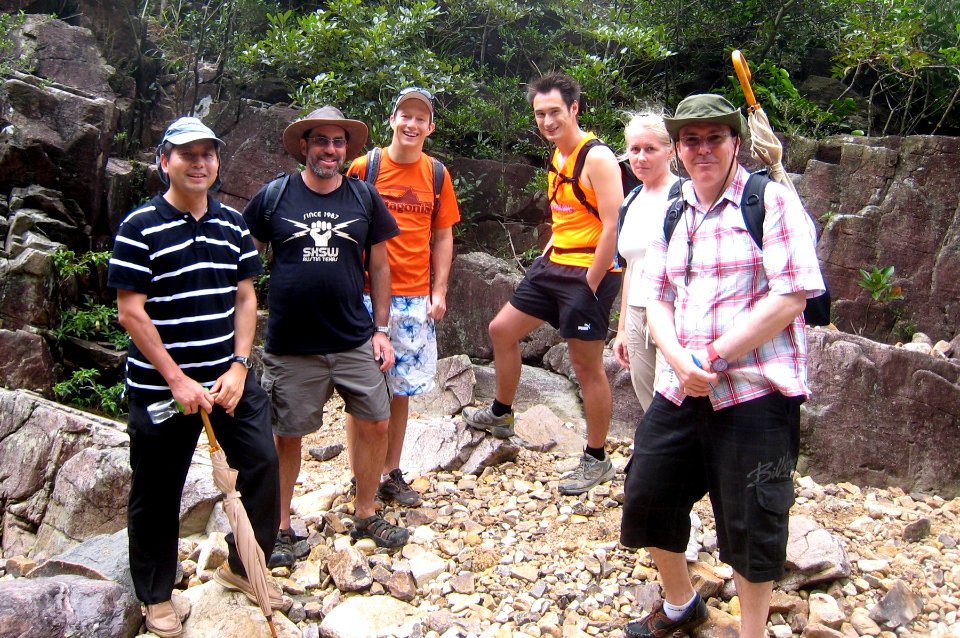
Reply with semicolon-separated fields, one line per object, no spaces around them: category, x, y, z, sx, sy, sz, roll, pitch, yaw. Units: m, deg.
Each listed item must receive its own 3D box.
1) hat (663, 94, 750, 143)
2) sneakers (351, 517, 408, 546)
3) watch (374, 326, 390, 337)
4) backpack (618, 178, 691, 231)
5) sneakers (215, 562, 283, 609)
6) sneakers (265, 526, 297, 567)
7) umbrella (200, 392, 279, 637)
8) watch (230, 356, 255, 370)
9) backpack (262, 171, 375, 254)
hat;1.273;-1.179;4.340;0.444;0.169;0.531;-3;0;31
sneakers;-0.725;1.504;5.390;0.368;0.157;0.189;7;8;9
watch;-0.713;0.083;5.362;0.075;0.058;0.097;2;2;-20
backpack;1.109;-0.719;4.660;0.332;0.309;0.235;-17;14;-6
sneakers;-1.465;1.670;4.661;0.449;0.189;0.176;29;28;-2
sneakers;-1.355;1.588;5.103;0.119;0.144;0.333;0;-7;2
umbrella;-1.455;1.231;4.581;0.535;1.402;0.249;6;9;22
watch;-1.512;0.274;4.694;0.091;0.064;0.100;-16;-20;24
backpack;-1.097;-0.739;5.018;0.614;0.568;0.385;-7;16;-10
